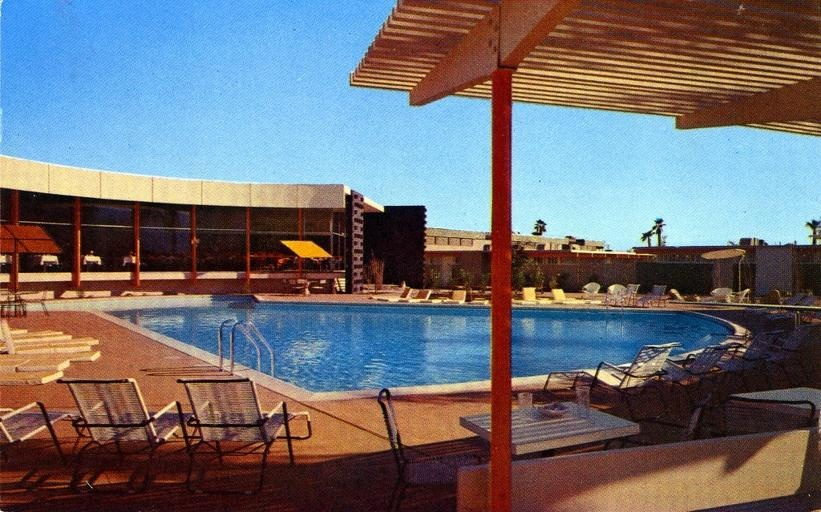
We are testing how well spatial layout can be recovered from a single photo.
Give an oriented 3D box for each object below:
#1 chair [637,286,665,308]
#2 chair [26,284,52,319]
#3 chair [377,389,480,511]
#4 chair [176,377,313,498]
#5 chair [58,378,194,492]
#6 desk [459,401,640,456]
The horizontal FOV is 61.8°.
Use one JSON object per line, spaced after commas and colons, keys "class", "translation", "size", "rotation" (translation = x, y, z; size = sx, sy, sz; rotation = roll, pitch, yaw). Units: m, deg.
{"class": "chair", "translation": [9.409, 1.573, 26.700], "size": [1.517, 0.792, 0.763], "rotation": [-3, 0, -45]}
{"class": "chair", "translation": [-13.863, 1.697, 25.569], "size": [0.932, 1.369, 0.769], "rotation": [3, -4, -32]}
{"class": "chair", "translation": [0.397, 2.677, 10.127], "size": [1.463, 1.631, 1.634], "rotation": [-1, 1, 5]}
{"class": "chair", "translation": [-2.539, 2.582, 10.487], "size": [1.816, 1.586, 1.456], "rotation": [-1, 1, -18]}
{"class": "chair", "translation": [-4.414, 2.520, 10.346], "size": [1.421, 1.797, 2.167], "rotation": [-1, -2, 9]}
{"class": "desk", "translation": [2.214, 2.472, 9.808], "size": [1.759, 0.629, 0.783], "rotation": [-1, 1, -8]}
